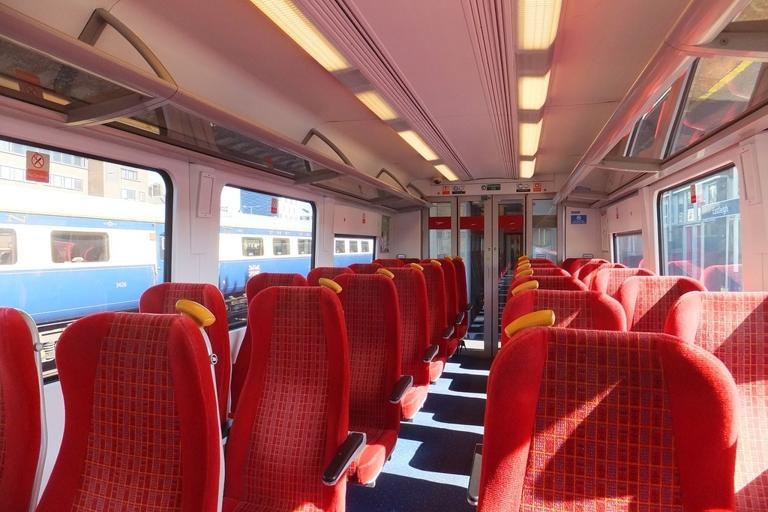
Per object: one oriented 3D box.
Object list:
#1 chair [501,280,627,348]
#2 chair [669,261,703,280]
[{"bbox_3d":[1.183,0.344,3.110,0.521,0.620,0.546,4,-30,6],"label":"chair"},{"bbox_3d":[3.080,0.142,4.578,0.159,0.182,0.193,-1,-18,6],"label":"chair"}]
